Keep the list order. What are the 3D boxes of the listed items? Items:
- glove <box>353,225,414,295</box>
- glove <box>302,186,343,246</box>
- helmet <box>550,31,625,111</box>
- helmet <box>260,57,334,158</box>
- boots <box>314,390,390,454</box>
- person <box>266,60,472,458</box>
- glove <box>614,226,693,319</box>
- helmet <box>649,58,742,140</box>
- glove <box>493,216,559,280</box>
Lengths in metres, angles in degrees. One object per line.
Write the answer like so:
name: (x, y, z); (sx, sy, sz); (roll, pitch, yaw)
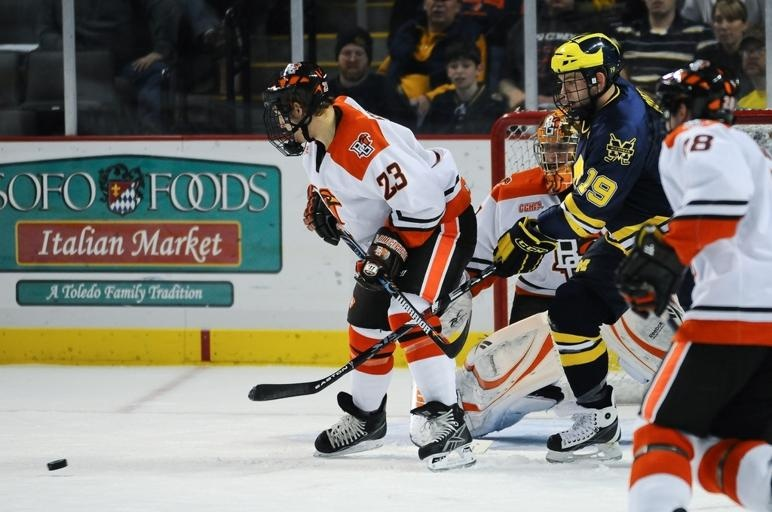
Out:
glove: (0.002, 0.020, 5.538); (0.196, 0.272, 0.170); (31, -19, 0)
glove: (-0.330, -0.180, 5.853); (0.094, 0.270, 0.195); (-35, 5, -27)
helmet: (0.925, -0.854, 5.516); (0.376, 0.328, 0.290); (-9, 7, 1)
helmet: (-0.353, -0.730, 5.703); (0.429, 0.503, 0.366); (0, 17, 0)
boots: (-0.244, 0.828, 5.892); (0.501, 0.332, 0.174); (-3, 6, -17)
person: (-0.053, 0.029, 5.638); (0.952, 1.867, 0.514); (0, 12, 4)
glove: (1.008, 0.057, 4.565); (0.345, 0.262, 0.144); (-42, -5, 19)
helmet: (1.245, -0.662, 4.814); (0.298, 0.277, 0.254); (28, 25, 16)
glove: (0.656, -0.041, 5.768); (0.225, 0.338, 0.132); (35, 42, -10)
